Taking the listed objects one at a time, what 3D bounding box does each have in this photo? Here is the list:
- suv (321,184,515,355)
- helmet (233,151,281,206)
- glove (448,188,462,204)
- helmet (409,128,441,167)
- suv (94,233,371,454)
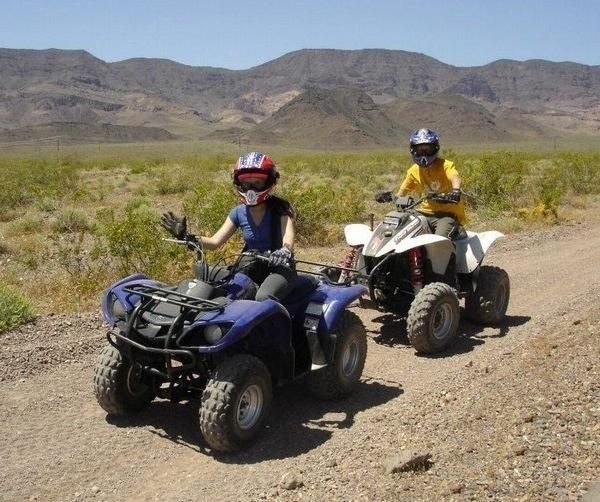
[{"bbox_3d":[1.612,0.184,7.761,1.831,1.873,2.654,7,9,38],"label":"suv"},{"bbox_3d":[-0.428,-0.706,5.668,0.469,0.547,0.571,-3,2,2],"label":"helmet"},{"bbox_3d":[1.912,-0.662,7.051,0.136,0.187,0.256,3,15,14],"label":"glove"},{"bbox_3d":[1.675,-1.386,7.615,0.379,0.495,0.510,-3,14,15],"label":"helmet"},{"bbox_3d":[-0.581,0.775,5.773,1.766,1.659,2.543,5,8,28],"label":"suv"}]
